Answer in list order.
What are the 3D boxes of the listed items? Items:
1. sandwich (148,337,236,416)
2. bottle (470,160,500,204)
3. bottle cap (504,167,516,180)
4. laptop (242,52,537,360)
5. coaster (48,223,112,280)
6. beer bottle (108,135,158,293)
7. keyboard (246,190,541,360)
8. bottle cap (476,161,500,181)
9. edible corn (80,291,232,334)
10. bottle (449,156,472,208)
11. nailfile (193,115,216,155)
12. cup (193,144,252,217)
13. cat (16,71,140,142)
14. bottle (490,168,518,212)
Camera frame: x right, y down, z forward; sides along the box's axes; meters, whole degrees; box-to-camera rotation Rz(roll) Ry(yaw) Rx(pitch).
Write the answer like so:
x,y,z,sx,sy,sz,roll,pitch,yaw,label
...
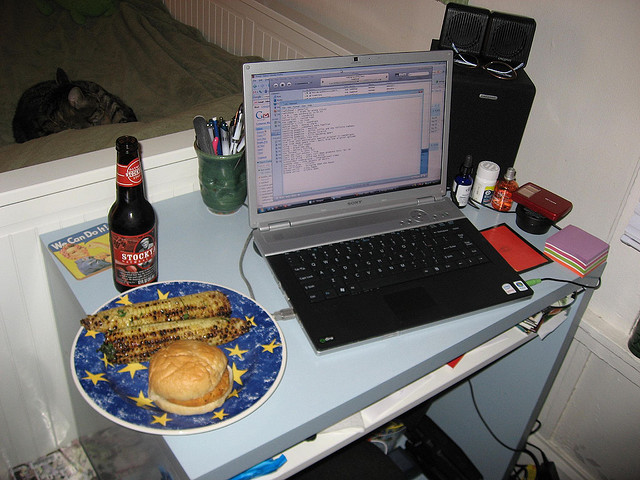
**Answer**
x,y,z,sx,sy,sz,roll,pitch,yaw,label
-0.238,0.255,0.886,0.153,0.084,0.169,4,7,8,sandwich
0.453,-0.150,1.341,0.058,0.104,0.059,4,35,-3,bottle
0.505,-0.177,1.302,0.024,0.024,0.025,20,41,23,bottle cap
0.151,-0.115,1.014,0.549,0.408,0.485,-8,37,-15,laptop
-0.524,0.028,1.106,0.134,0.023,0.151,-23,44,-31,coaster
-0.378,-0.050,0.986,0.094,0.323,0.093,6,23,-2,beer bottle
0.182,0.055,1.112,0.603,0.136,0.314,-10,39,-18,keyboard
0.449,-0.186,1.303,0.048,0.042,0.051,8,39,11,bottle cap
-0.317,0.180,0.953,0.294,0.072,0.085,1,71,-7,edible corn
0.379,-0.159,1.311,0.053,0.141,0.056,0,42,0,bottle
-0.270,-0.249,1.163,0.035,0.080,0.050,-21,42,-30,nailfile
-0.244,-0.148,1.242,0.138,0.154,0.137,4,19,-1,cup
-0.934,-0.544,1.929,0.424,0.135,0.363,-7,38,-14,cat
0.506,-0.139,1.333,0.060,0.114,0.061,7,27,-3,bottle
